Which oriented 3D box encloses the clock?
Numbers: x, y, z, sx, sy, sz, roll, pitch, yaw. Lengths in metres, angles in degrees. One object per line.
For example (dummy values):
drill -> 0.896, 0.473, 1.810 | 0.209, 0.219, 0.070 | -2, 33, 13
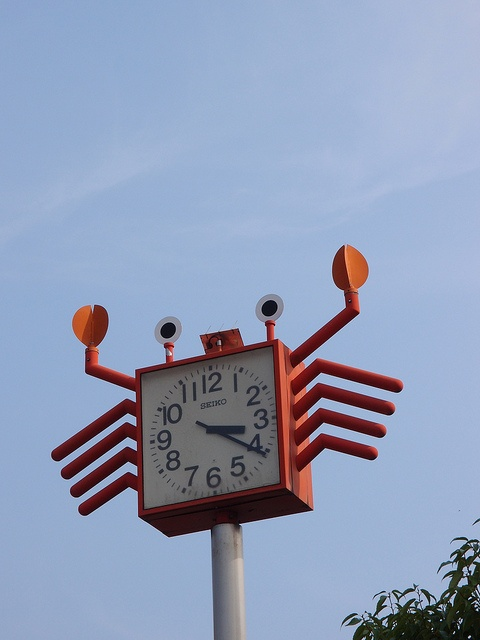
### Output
clock -> -0.232, 0.886, 13.685 | 1.099, 1.322, 0.138 | -9, -35, 8
